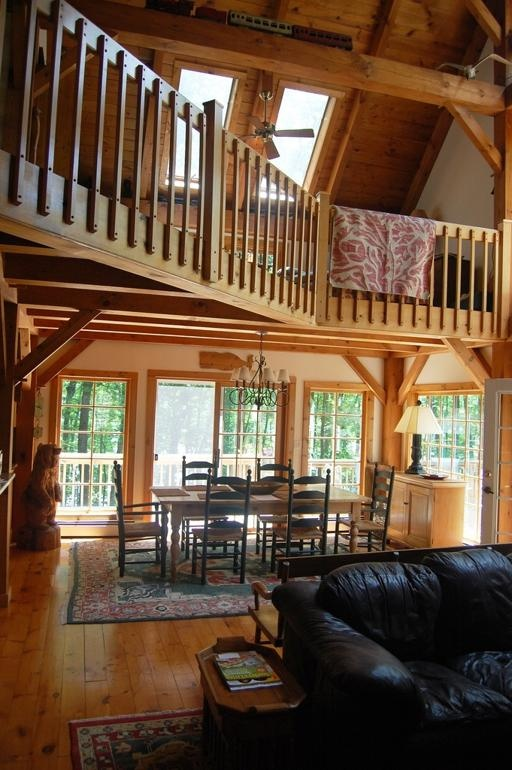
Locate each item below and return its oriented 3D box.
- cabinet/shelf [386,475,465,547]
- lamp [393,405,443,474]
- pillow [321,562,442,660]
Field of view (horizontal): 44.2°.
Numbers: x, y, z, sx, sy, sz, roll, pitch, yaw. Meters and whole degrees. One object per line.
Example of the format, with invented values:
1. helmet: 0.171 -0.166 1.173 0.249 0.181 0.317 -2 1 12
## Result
1. cabinet/shelf: 1.943 1.546 7.507 0.423 0.917 1.012 1 1 -21
2. lamp: 1.918 0.624 7.465 0.492 0.906 1.380 1 -2 16
3. pillow: 0.640 1.062 3.020 0.516 0.477 0.147 11 -30 -20
